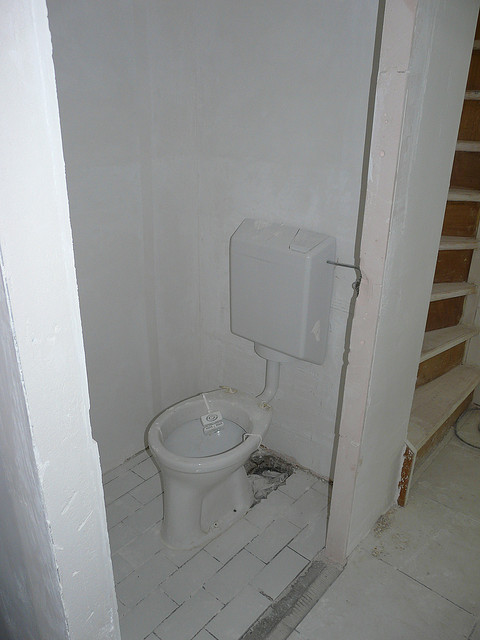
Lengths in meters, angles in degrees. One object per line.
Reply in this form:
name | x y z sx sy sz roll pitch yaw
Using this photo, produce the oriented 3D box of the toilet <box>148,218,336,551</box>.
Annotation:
toilet | -0.018 0.226 1.781 0.669 1.053 0.398 -17 27 -38
